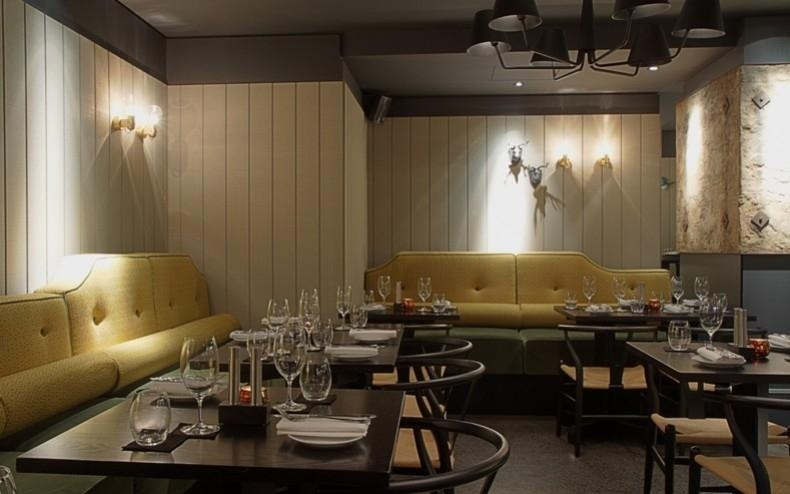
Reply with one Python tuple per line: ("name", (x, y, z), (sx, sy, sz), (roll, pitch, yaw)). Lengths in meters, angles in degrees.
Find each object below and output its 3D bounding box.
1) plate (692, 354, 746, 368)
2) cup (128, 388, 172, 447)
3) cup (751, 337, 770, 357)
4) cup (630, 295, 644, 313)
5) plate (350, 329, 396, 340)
("plate", (2.076, 0.738, 3.754), (0.296, 0.076, 0.153), (-2, 2, 20))
("cup", (-1.185, 0.828, 2.930), (0.214, 0.301, 0.230), (0, 1, 0))
("cup", (2.429, 0.671, 3.943), (0.120, 0.120, 0.123), (1, 0, 0))
("cup", (2.241, 0.538, 5.443), (0.127, 0.152, 0.135), (3, 2, 0))
("plate", (-0.164, 0.630, 4.175), (0.341, 0.064, 0.192), (-3, 2, -3))
